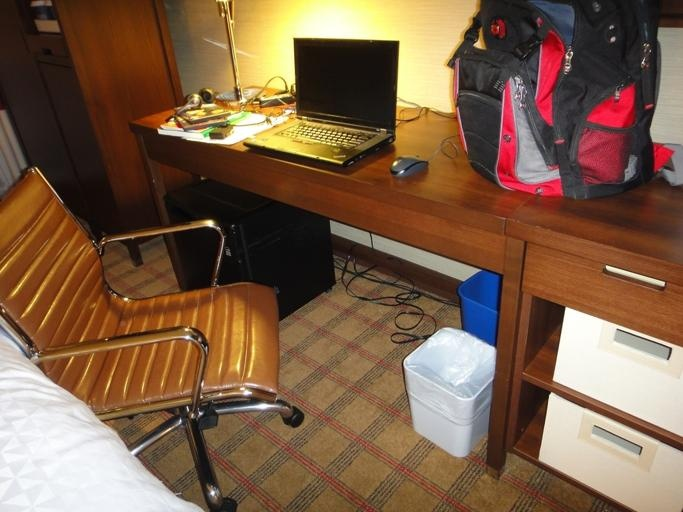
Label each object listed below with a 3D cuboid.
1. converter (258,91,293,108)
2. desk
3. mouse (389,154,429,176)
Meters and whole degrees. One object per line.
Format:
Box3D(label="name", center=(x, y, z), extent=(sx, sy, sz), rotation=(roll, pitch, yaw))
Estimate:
Box3D(label="converter", center=(-0.293, -0.696, 2.138), extent=(0.121, 0.035, 0.086), rotation=(-17, 30, -33))
Box3D(label="desk", center=(-0.017, -0.137, 1.984), extent=(1.603, 0.796, 0.649), rotation=(20, 44, 28))
Box3D(label="mouse", center=(0.194, -0.279, 1.422), extent=(0.099, 0.034, 0.056), rotation=(-20, 40, -28))
